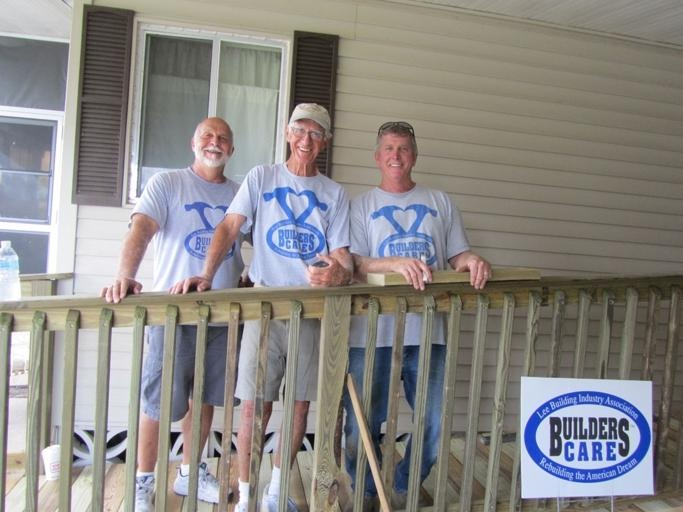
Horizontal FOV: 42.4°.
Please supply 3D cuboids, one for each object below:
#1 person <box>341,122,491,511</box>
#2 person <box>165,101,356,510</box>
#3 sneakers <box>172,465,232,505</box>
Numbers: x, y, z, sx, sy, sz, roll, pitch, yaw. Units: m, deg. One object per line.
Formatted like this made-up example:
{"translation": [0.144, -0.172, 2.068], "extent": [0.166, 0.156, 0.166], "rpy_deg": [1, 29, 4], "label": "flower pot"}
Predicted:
{"translation": [0.457, 0.385, 5.738], "extent": [0.848, 2.535, 0.715], "rpy_deg": [2, 2, -1], "label": "person"}
{"translation": [-0.409, 0.331, 5.564], "extent": [0.950, 2.631, 0.633], "rpy_deg": [2, 2, -1], "label": "person"}
{"translation": [-0.939, 1.506, 5.938], "extent": [0.457, 0.225, 0.223], "rpy_deg": [11, 4, 10], "label": "sneakers"}
